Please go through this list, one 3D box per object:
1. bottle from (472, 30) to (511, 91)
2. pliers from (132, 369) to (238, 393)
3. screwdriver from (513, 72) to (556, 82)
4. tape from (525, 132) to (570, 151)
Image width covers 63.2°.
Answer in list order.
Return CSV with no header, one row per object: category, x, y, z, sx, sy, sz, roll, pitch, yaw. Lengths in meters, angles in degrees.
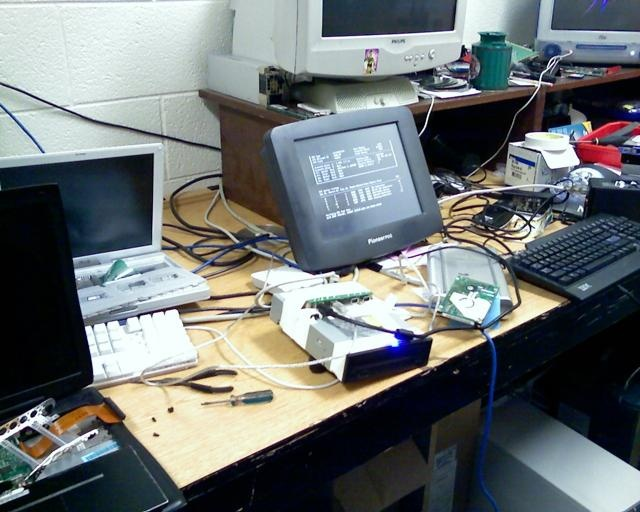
bottle,0.489,-0.593,1.581,0.098,0.168,0.131,27,34,36
pliers,-0.198,0.198,0.809,0.178,0.017,0.046,1,23,-5
screwdriver,0.693,-0.588,1.699,0.095,0.018,0.086,11,22,28
tape,0.642,-0.326,1.466,0.094,0.018,0.087,-12,27,-28
